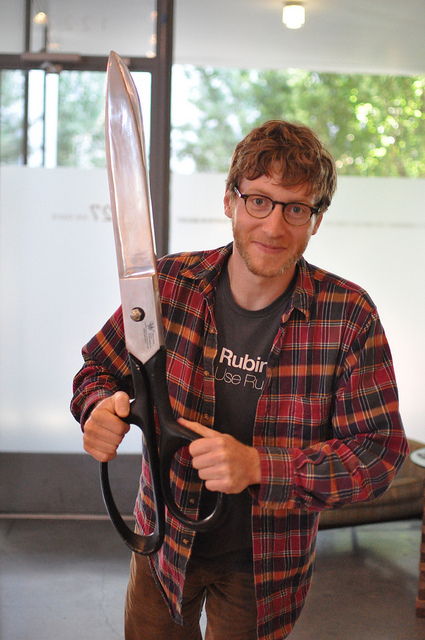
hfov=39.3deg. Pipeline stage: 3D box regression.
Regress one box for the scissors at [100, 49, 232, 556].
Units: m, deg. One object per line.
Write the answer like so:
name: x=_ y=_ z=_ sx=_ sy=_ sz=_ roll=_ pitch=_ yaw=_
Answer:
scissors: x=-0.082 y=-0.013 z=0.837 sx=0.226 sy=0.633 sz=0.067 roll=-4 pitch=10 yaw=-5

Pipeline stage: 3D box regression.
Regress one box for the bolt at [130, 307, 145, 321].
bolt: x=-0.099 y=-0.009 z=0.795 sx=0.018 sy=0.017 sz=0.013 roll=1 pitch=16 yaw=24
